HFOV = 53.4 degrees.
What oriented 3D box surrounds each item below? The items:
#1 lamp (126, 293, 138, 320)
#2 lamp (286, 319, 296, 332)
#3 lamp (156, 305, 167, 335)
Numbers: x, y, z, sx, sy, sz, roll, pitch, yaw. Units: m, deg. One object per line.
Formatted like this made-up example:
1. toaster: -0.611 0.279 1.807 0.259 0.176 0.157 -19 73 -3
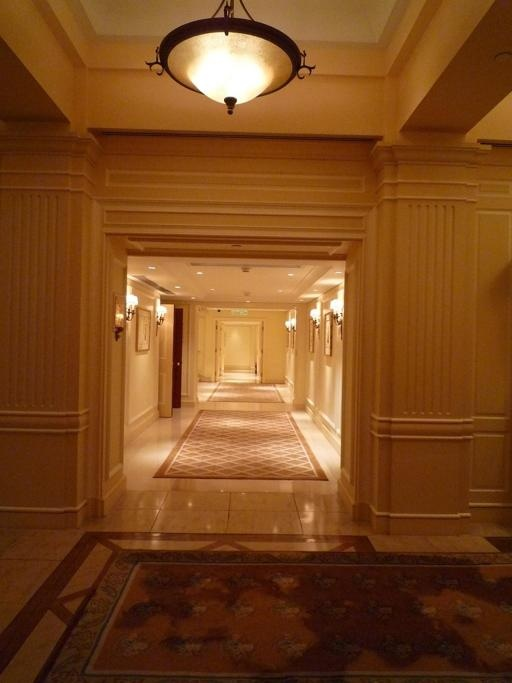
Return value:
1. lamp: -1.695 -0.461 6.946 0.125 0.372 0.807 2 2 -13
2. lamp: 0.976 -0.453 14.188 0.236 0.272 0.563 1 -4 -5
3. lamp: -1.759 -0.434 9.438 0.194 0.446 0.316 2 1 -10
